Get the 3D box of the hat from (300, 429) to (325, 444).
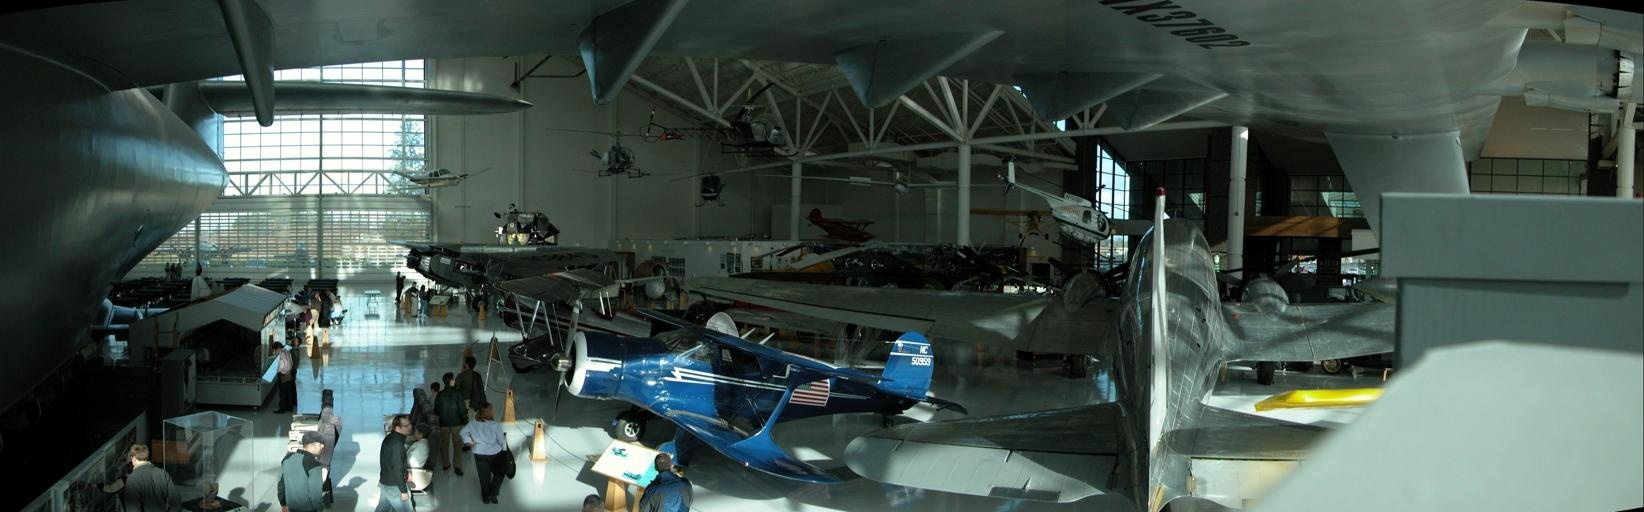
[{"bbox_3d":[-24.377,8.556,48.092,1.128,0.675,0.860,-3,7,-40],"label":"hat"}]
